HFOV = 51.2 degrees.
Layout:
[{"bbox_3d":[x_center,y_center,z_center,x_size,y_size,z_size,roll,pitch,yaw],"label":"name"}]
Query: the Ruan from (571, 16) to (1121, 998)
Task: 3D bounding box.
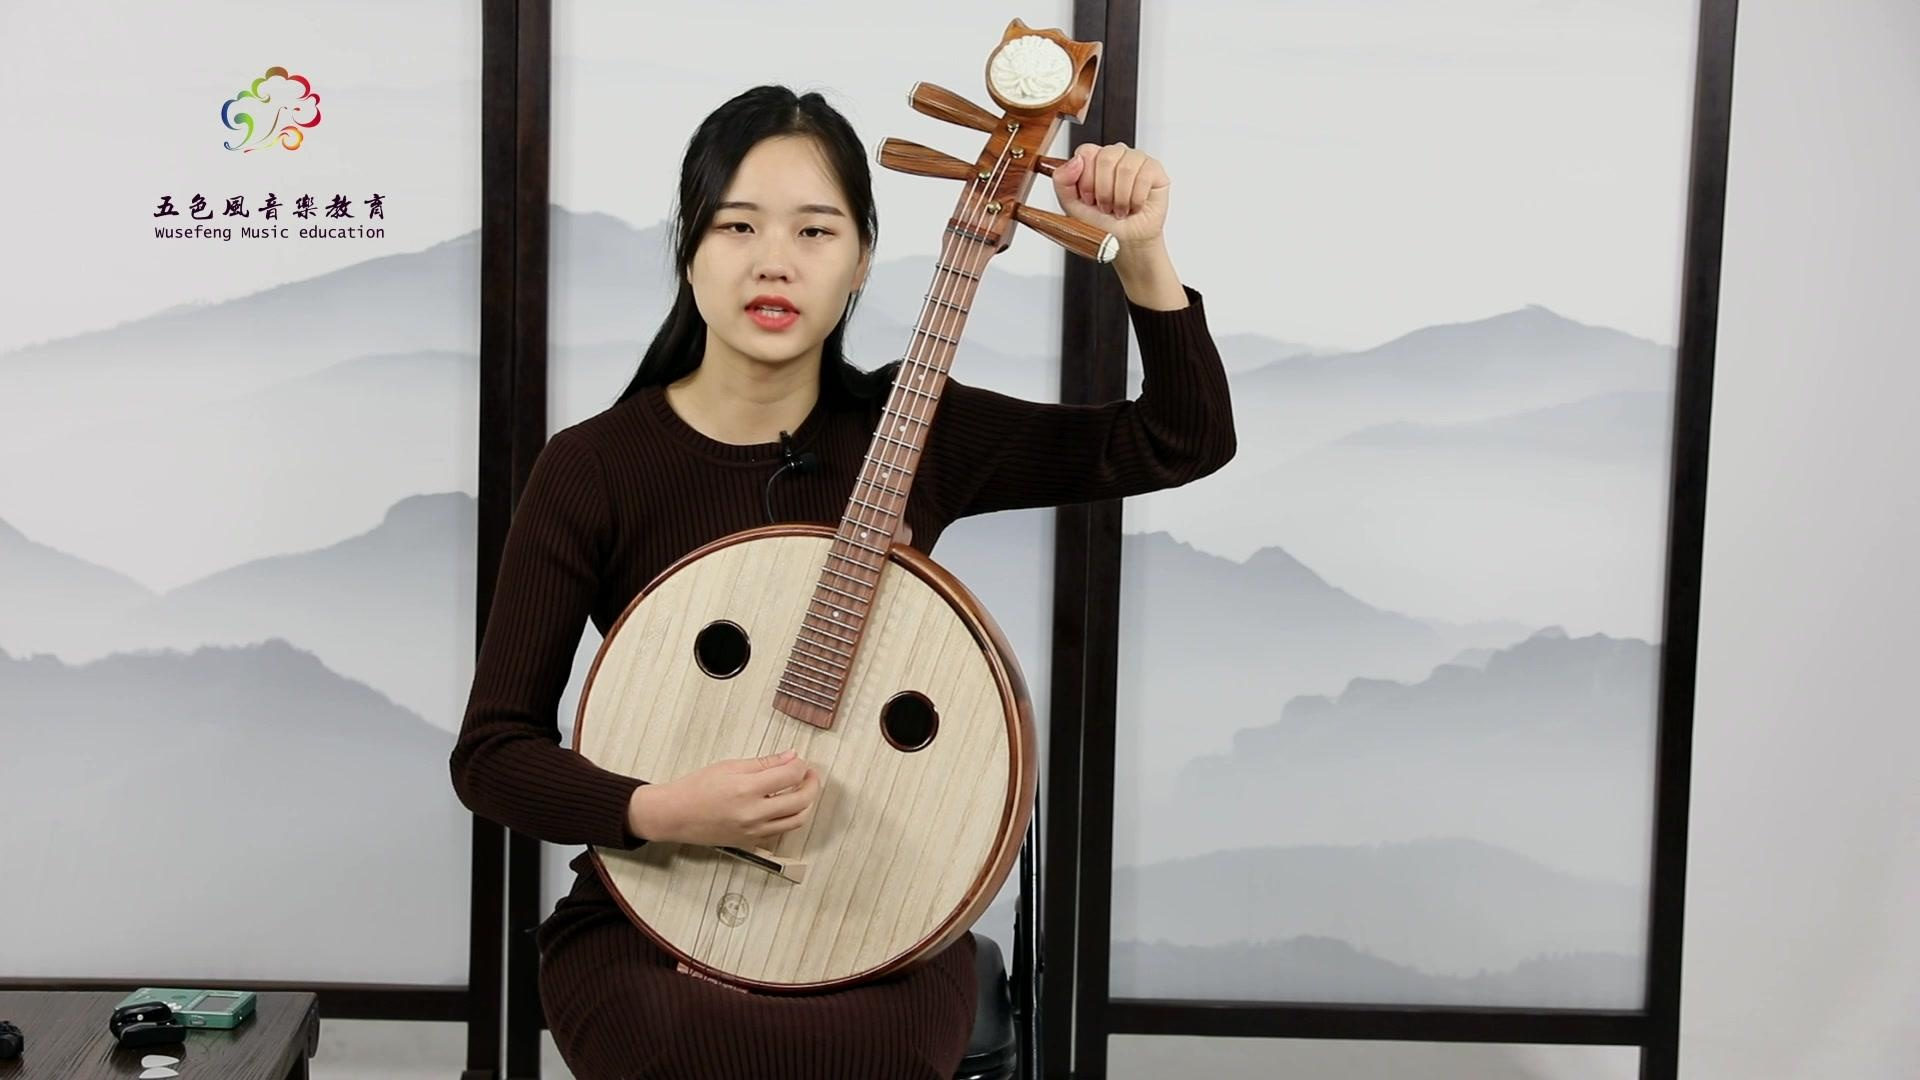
[{"bbox_3d":[-0.216,0.051,5.100,1.292,2.584,0.365,18,1,7],"label":"Ruan"}]
